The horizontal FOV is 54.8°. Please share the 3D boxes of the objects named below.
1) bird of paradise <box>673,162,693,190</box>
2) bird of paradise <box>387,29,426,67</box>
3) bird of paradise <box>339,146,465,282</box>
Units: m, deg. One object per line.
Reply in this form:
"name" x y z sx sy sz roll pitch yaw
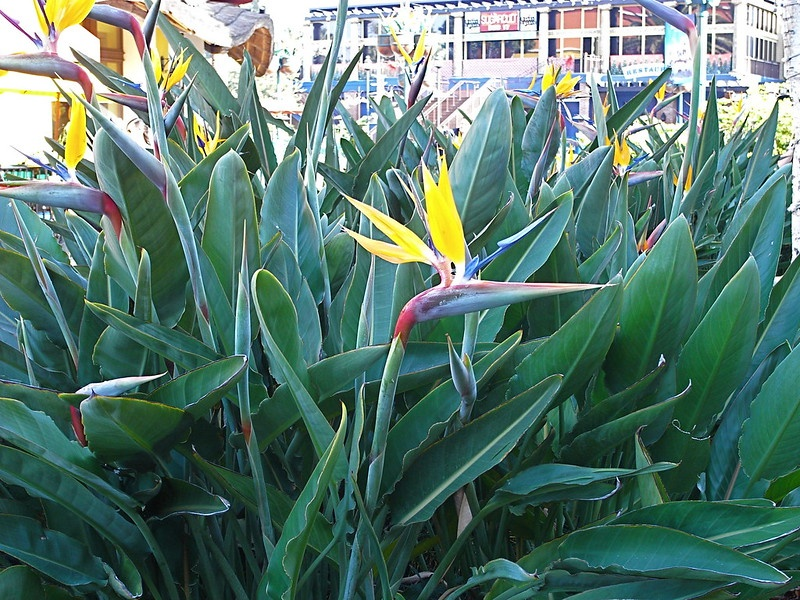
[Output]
"bird of paradise" 0.619 -0.265 1.668 0.029 0.059 0.280 7 12 20
"bird of paradise" 0.014 -0.570 1.755 0.094 0.113 0.124 -1 6 -1
"bird of paradise" 0.014 -0.094 0.894 0.103 0.149 0.131 12 13 38
